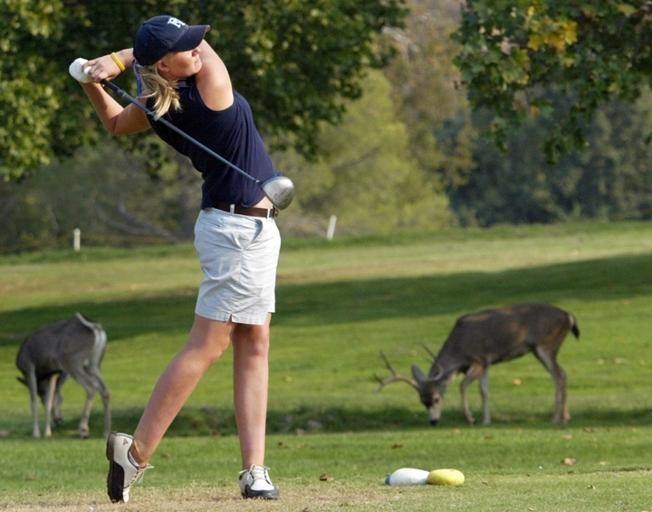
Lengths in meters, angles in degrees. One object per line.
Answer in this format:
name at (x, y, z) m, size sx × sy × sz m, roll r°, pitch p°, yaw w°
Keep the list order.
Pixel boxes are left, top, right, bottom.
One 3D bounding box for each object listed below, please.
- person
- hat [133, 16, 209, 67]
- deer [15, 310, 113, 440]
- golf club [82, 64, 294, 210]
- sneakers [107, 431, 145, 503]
person at (-0.925, -0.006, 10.637) m, size 1.414 × 3.091 × 0.865 m, roll -3°, pitch 4°, yaw -7°
hat at (-0.998, -1.316, 10.285) m, size 0.472 × 0.302 × 0.471 m, roll 0°, pitch 2°, yaw -30°
deer at (-2.178, 0.999, 12.870) m, size 1.122 × 0.947 × 0.354 m, roll -15°, pitch -17°, yaw 31°
golf club at (-0.914, -0.815, 11.334) m, size 1.460 × 0.309 × 0.348 m, roll 36°, pitch 28°, yaw -3°
sneakers at (-1.269, 1.319, 10.495) m, size 0.249 × 0.519 × 0.173 m, roll -1°, pitch 6°, yaw 8°
